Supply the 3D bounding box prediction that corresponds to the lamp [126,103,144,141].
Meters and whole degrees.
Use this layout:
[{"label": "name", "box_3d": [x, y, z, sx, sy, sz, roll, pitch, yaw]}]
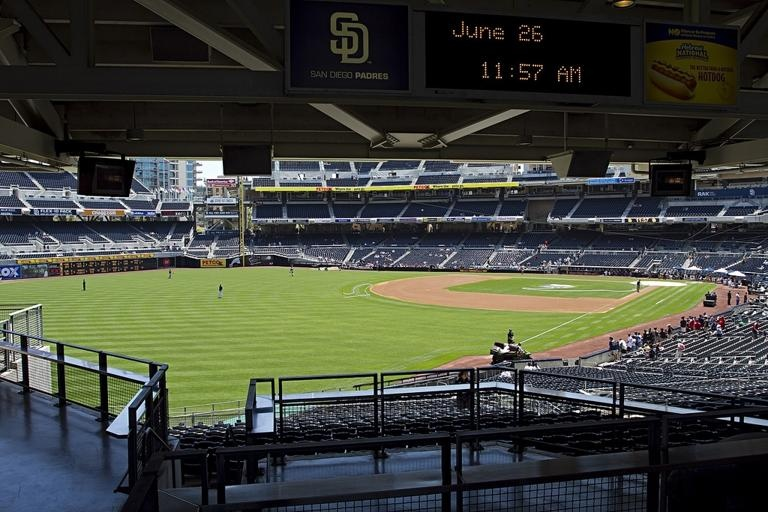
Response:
[{"label": "lamp", "box_3d": [-4.832, -2.608, 14.576, 0.273, 0.666, 0.360, 3, -11, -16]}]
